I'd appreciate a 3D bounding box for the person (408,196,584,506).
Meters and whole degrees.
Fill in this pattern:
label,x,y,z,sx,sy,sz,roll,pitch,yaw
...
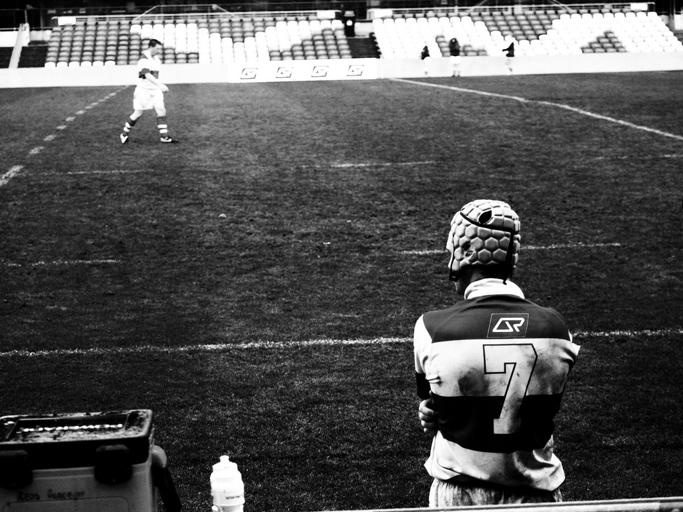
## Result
label,x,y,z,sx,sy,sz,roll,pitch,yaw
person,1.371,0.983,13.123,1.390,2.672,0.859,0,13,3

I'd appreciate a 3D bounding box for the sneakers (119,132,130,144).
label,x,y,z,sx,sy,sz,roll,pitch,yaw
sneakers,-2.990,-1.632,20.240,0.133,0.178,0.122,4,-10,-27
